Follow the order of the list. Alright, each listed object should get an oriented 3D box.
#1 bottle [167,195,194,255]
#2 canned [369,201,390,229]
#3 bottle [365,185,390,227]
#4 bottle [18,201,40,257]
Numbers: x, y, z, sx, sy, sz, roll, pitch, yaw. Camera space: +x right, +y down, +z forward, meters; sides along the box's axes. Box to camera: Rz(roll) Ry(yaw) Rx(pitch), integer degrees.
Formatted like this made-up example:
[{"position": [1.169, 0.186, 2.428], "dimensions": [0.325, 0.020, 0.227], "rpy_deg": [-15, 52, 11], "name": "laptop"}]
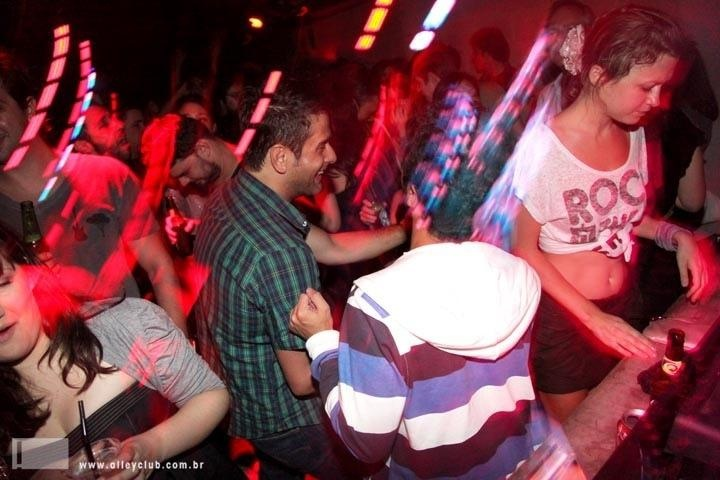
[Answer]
[{"position": [-1.397, -0.105, 3.777], "dimensions": [0.297, 0.394, 0.160], "rpy_deg": [15, 24, 9], "name": "bottle"}, {"position": [0.161, -0.179, 3.535], "dimensions": [0.131, 0.160, 0.173], "rpy_deg": [27, 28, 32], "name": "canned"}, {"position": [0.127, -0.228, 3.529], "dimensions": [0.186, 0.244, 0.102], "rpy_deg": [-7, 9, 14], "name": "bottle"}, {"position": [-1.777, -0.069, 2.654], "dimensions": [0.091, 0.248, 0.161], "rpy_deg": [-6, 29, -34], "name": "bottle"}]
